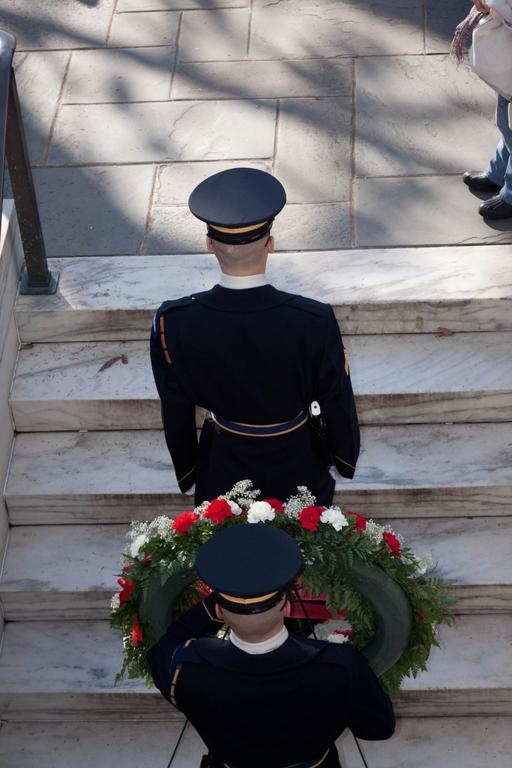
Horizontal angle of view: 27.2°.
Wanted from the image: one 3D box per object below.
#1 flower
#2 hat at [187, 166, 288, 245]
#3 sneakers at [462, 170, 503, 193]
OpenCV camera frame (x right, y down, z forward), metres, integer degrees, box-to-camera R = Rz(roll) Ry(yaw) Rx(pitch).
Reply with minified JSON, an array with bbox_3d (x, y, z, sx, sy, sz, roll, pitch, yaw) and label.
[{"bbox_3d":[0.075,0.628,3.463,0.933,0.831,0.192,-4,65,14],"label":"flower"},{"bbox_3d":[-0.068,-0.624,3.666,0.323,0.162,0.336,11,38,9],"label":"hat"},{"bbox_3d":[1.239,-1.089,5.843,0.231,0.078,0.103,28,8,34],"label":"sneakers"}]
